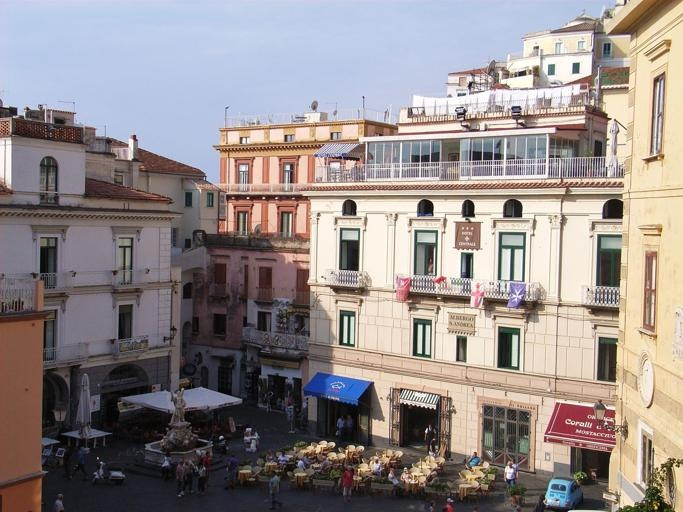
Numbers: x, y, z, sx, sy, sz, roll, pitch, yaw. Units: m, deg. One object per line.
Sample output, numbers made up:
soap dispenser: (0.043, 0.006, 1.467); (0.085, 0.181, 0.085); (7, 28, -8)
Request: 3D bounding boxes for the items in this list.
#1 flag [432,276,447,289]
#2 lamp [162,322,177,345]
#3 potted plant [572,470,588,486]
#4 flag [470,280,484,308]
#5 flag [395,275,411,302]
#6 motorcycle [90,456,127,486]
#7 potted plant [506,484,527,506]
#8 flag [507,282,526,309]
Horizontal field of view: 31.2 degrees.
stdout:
flag: (5.487, 1.326, 67.329); (0.823, 0.556, 0.277); (2, 6, 20)
lamp: (-10.450, 4.791, 75.105); (0.554, 1.201, 0.982); (4, 7, 36)
potted plant: (12.302, 11.316, 62.536); (0.820, 0.785, 0.860); (3, -2, -19)
flag: (7.352, 2.009, 65.823); (0.783, 1.310, 0.380); (3, 6, 25)
flag: (3.499, 1.792, 68.562); (1.095, 1.437, 0.378); (5, 7, 41)
motorcycle: (-12.252, 11.287, 63.632); (2.034, 0.909, 1.234); (4, 6, 32)
potted plant: (8.842, 11.713, 60.885); (0.991, 1.173, 0.872); (1, 5, 19)
flag: (9.305, 1.990, 64.528); (0.953, 1.301, 0.354); (6, -7, 36)
